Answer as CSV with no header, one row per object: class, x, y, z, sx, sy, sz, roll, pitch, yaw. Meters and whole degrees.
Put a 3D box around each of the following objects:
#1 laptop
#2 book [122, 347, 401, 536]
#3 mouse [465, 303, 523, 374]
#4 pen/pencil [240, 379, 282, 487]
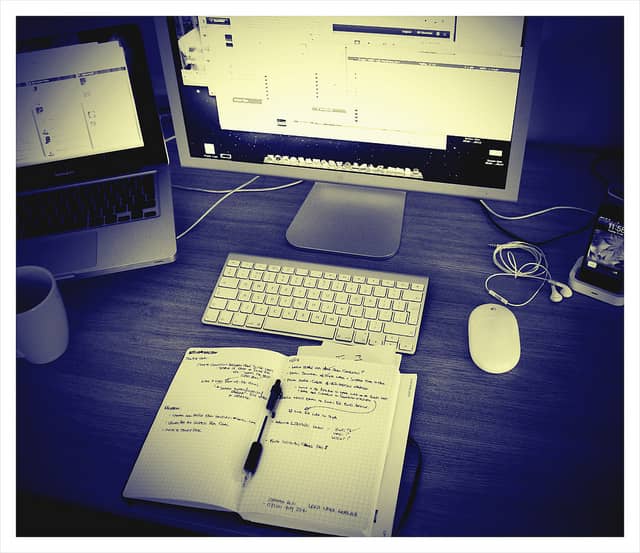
laptop,-0.401,-0.204,1.113,0.404,0.319,0.440,-11,71,-9
book,-0.071,0.210,0.736,0.324,0.116,0.222,7,28,12
mouse,0.270,0.089,0.839,0.080,0.025,0.147,3,39,11
pen/pencil,-0.077,0.206,0.728,0.023,0.018,0.170,-2,40,20
